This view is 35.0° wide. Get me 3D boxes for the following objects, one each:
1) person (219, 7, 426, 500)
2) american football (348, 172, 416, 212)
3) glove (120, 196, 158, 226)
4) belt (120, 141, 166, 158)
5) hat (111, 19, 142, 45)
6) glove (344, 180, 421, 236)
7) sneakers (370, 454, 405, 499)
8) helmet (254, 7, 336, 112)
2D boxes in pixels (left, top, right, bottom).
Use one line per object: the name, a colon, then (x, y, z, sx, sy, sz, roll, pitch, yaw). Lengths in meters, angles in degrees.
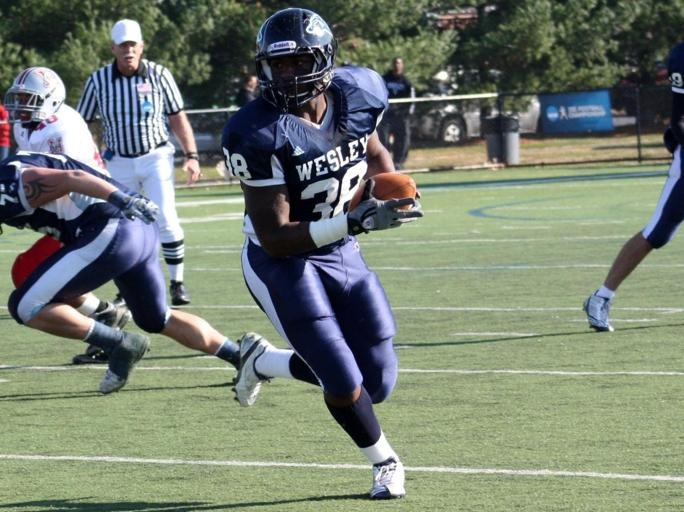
person: (-0.091, -0.057, 5.358, 0.911, 2.308, 1.030, -5, 13, -6)
american football: (0.187, -0.323, 5.360, 0.318, 0.155, 0.190, -10, -1, 0)
glove: (-1.161, -0.261, 6.229, 0.206, 0.082, 0.147, 13, -1, -38)
belt: (-1.640, -0.860, 8.991, 0.218, 0.057, 0.203, -17, 8, 18)
hat: (-1.790, -1.863, 8.980, 0.214, 0.143, 0.278, -3, 10, -17)
glove: (0.154, -0.245, 5.232, 0.363, 0.182, 0.279, -19, -18, 39)
sneakers: (0.213, 1.048, 5.227, 0.170, 0.170, 0.208, -2, 12, 3)
helmet: (-0.219, -0.962, 5.297, 0.421, 0.485, 0.283, -5, 13, -9)
